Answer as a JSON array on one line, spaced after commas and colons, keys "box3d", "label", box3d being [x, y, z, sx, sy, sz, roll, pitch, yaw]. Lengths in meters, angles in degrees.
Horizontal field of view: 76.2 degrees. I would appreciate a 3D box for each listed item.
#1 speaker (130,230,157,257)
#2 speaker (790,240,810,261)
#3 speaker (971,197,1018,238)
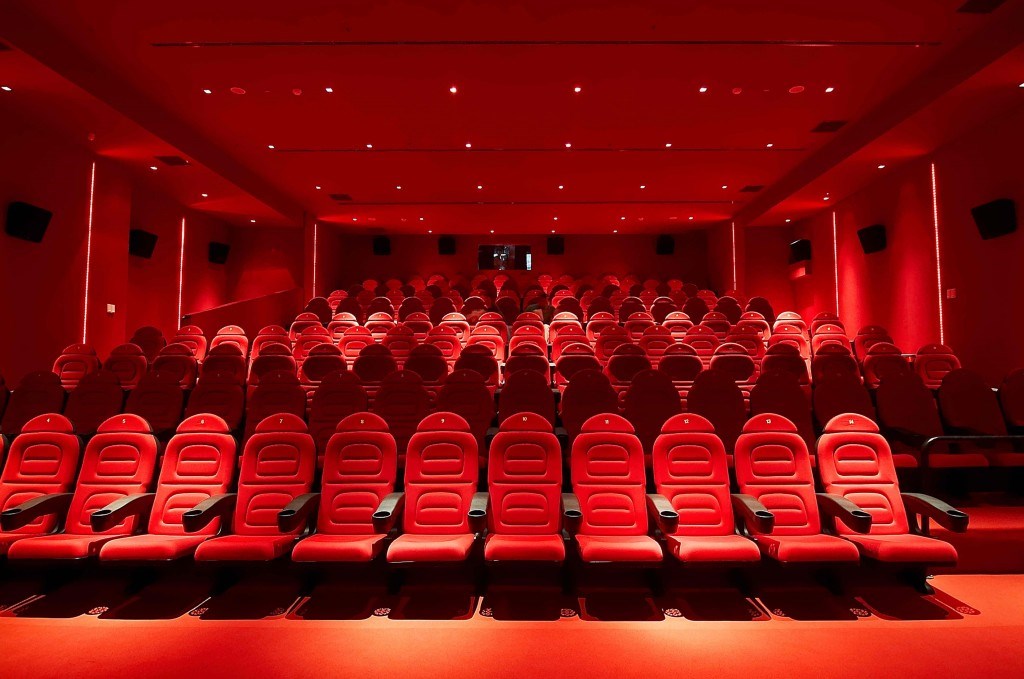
[{"box3d": [-6.295, -1.630, 11.126, 0.263, 0.478, 0.521, 5, -15, -16], "label": "speaker"}, {"box3d": [5.868, -1.816, 13.327, 0.159, 0.376, 0.466, 5, -10, -6], "label": "speaker"}, {"box3d": [6.255, -1.557, 8.468, 0.227, 0.506, 0.589, 2, -14, -2], "label": "speaker"}]
